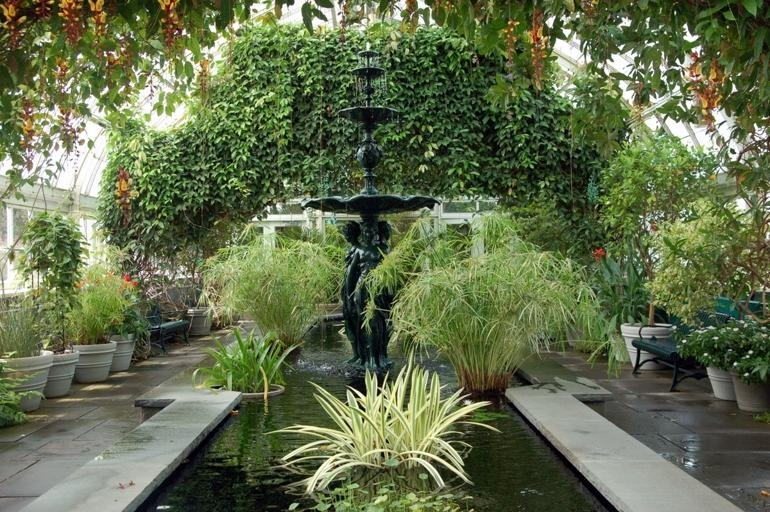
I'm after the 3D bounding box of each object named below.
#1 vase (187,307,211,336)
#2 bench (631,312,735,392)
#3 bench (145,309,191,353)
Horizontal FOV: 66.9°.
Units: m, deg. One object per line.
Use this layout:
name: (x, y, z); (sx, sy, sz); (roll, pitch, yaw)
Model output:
vase: (-3.166, 1.134, 9.971); (0.365, 0.484, 0.491); (-1, 2, -17)
bench: (3.100, 1.007, 6.196); (0.577, 0.771, 1.425); (-5, -3, 10)
bench: (-3.211, 1.111, 8.250); (0.314, 0.665, 0.246); (-8, 14, -29)
